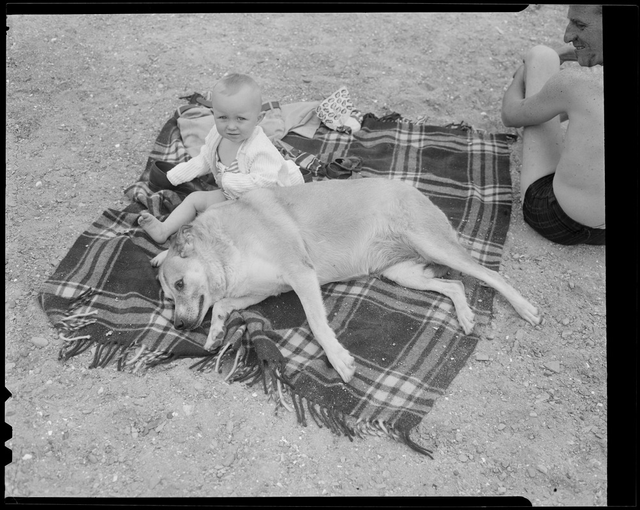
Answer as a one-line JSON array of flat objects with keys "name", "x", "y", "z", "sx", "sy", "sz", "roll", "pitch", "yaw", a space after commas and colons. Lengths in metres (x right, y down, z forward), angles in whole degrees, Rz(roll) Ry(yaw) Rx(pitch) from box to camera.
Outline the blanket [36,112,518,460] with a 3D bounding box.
[{"name": "blanket", "x": -0.003, "y": 0.120, "z": 5.244, "sx": 3.695, "sy": 2.184, "sz": 3.252, "roll": 9, "pitch": 27, "yaw": 17}]

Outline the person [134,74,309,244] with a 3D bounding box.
[{"name": "person", "x": -0.596, "y": -0.786, "z": 4.507, "sx": 0.873, "sy": 1.135, "sz": 1.609, "roll": 21, "pitch": 27, "yaw": 35}]

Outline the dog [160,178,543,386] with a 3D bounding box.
[{"name": "dog", "x": 0.094, "y": 0.233, "z": 4.577, "sx": 2.935, "sy": 1.130, "sz": 1.645, "roll": -4, "pitch": 68, "yaw": -18}]
